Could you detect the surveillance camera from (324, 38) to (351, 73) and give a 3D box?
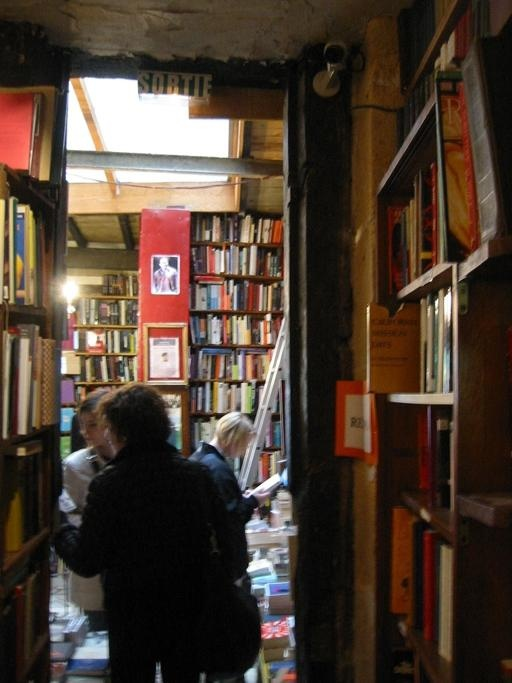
[{"bbox_3d":[0.257,-0.926,2.378,0.073,0.083,0.101,-1,-5,11],"label":"surveillance camera"}]
